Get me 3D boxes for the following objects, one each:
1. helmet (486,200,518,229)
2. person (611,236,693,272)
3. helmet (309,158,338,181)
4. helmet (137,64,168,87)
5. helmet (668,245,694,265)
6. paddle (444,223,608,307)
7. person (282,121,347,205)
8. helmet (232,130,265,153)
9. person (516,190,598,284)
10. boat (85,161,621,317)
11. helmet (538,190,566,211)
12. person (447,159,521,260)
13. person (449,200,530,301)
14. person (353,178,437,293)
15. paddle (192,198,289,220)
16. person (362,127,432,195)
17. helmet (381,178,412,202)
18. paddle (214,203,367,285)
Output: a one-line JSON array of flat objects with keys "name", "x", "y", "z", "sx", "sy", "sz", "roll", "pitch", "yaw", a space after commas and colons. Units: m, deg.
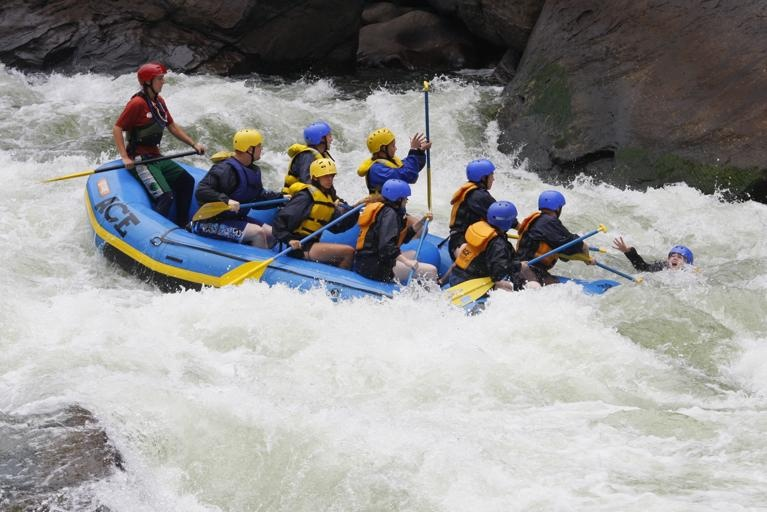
[{"name": "helmet", "x": 1.437, "y": -0.508, "z": 11.384, "sx": 0.416, "sy": 0.292, "sz": 0.285, "roll": 11, "pitch": 29, "yaw": -25}, {"name": "person", "x": 3.424, "y": 0.035, "z": 11.975, "sx": 0.903, "sy": 0.382, "sz": 0.536, "roll": 8, "pitch": 5, "yaw": -25}, {"name": "helmet", "x": -0.710, "y": -1.056, "z": 11.382, "sx": 0.243, "sy": 0.175, "sz": 0.306, "roll": -11, "pitch": 18, "yaw": -25}, {"name": "helmet", "x": -2.912, "y": -2.289, "z": 11.861, "sx": 0.430, "sy": 0.254, "sz": 0.278, "roll": 9, "pitch": 12, "yaw": -1}, {"name": "helmet", "x": 3.899, "y": 0.005, "z": 12.079, "sx": 0.247, "sy": 0.304, "sz": 0.242, "roll": 14, "pitch": 58, "yaw": 39}, {"name": "paddle", "x": 1.695, "y": 0.128, "z": 11.446, "sx": 2.423, "sy": 0.155, "sz": 0.307, "roll": -21, "pitch": 73, "yaw": -18}, {"name": "person", "x": -0.815, "y": -1.155, "z": 12.201, "sx": 1.031, "sy": 1.068, "sz": 0.774, "roll": 0, "pitch": 17, "yaw": 0}, {"name": "helmet", "x": -1.659, "y": -1.414, "z": 11.571, "sx": 0.381, "sy": 0.193, "sz": 0.256, "roll": -13, "pitch": 30, "yaw": -11}, {"name": "person", "x": 2.287, "y": -0.196, "z": 12.200, "sx": 1.042, "sy": 1.341, "sz": 0.693, "roll": -10, "pitch": 35, "yaw": -11}, {"name": "boat", "x": -1.026, "y": -0.108, "z": 11.420, "sx": 5.531, "sy": 0.877, "sz": 2.319, "roll": 11, "pitch": 28, "yaw": 2}, {"name": "helmet", "x": 2.099, "y": -0.683, "z": 11.692, "sx": 0.311, "sy": 0.209, "sz": 0.248, "roll": -28, "pitch": 32, "yaw": -32}, {"name": "person", "x": 1.383, "y": -0.566, "z": 12.041, "sx": 1.131, "sy": 1.284, "sz": 1.009, "roll": 4, "pitch": 11, "yaw": 16}, {"name": "person", "x": 1.293, "y": -0.040, "z": 11.397, "sx": 0.799, "sy": 1.036, "sz": 0.715, "roll": -16, "pitch": 44, "yaw": -19}, {"name": "person", "x": 0.149, "y": -0.199, "z": 11.595, "sx": 1.217, "sy": 1.446, "sz": 0.770, "roll": -14, "pitch": 46, "yaw": -16}, {"name": "paddle", "x": -1.756, "y": -0.587, "z": 11.652, "sx": 1.167, "sy": 0.116, "sz": 0.169, "roll": -10, "pitch": -2, "yaw": -39}, {"name": "person", "x": 0.272, "y": -1.131, "z": 12.334, "sx": 1.061, "sy": 1.001, "sz": 0.837, "roll": -10, "pitch": 9, "yaw": -8}, {"name": "helmet", "x": 0.151, "y": -0.794, "z": 11.340, "sx": 0.357, "sy": 0.220, "sz": 0.243, "roll": -5, "pitch": 18, "yaw": -5}, {"name": "paddle", "x": -1.149, "y": -0.119, "z": 11.398, "sx": 1.911, "sy": 0.228, "sz": 0.193, "roll": -27, "pitch": 15, "yaw": -12}]
